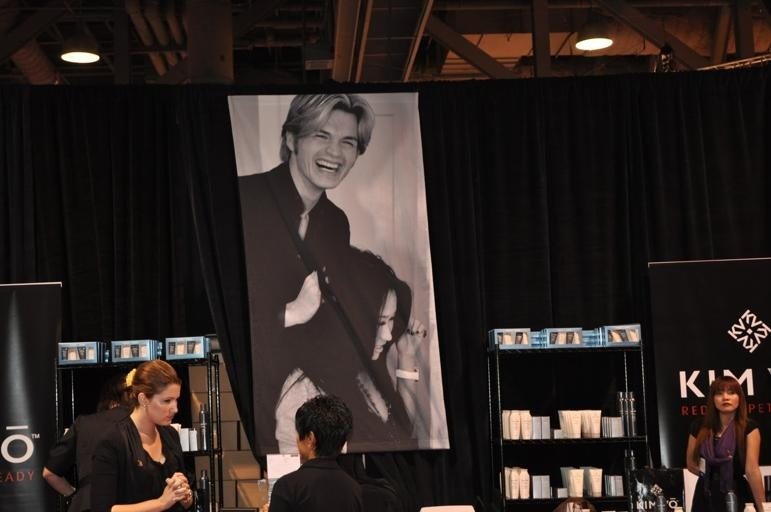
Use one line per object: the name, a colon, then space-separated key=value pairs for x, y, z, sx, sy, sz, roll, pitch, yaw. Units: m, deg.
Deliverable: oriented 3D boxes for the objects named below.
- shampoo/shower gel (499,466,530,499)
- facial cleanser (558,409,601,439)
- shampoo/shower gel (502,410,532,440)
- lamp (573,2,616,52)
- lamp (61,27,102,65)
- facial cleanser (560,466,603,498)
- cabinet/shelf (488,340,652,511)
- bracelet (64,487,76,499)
shampoo/shower gel: x=1.226 y=2.141 z=8.970 sx=0.252 sy=0.467 sz=0.254 roll=2 pitch=-14 yaw=-8
facial cleanser: x=1.859 y=1.618 z=9.064 sx=0.385 sy=0.281 sz=0.162 roll=-5 pitch=-7 yaw=10
shampoo/shower gel: x=1.252 y=1.621 z=9.054 sx=0.285 sy=0.283 sz=0.088 roll=-4 pitch=-7 yaw=4
lamp: x=2.360 y=-2.595 z=10.829 sx=0.396 sy=0.587 sz=0.693 roll=-5 pitch=-8 yaw=13
lamp: x=-3.448 y=-2.347 z=10.729 sx=0.372 sy=0.353 sz=0.244 roll=-1 pitch=-8 yaw=-21
facial cleanser: x=1.868 y=2.157 z=9.019 sx=0.381 sy=0.285 sz=0.221 roll=-5 pitch=-7 yaw=10
cabinet/shelf: x=1.748 y=1.694 z=9.146 sx=1.392 sy=1.851 sz=0.577 roll=0 pitch=-10 yaw=-2
bracelet: x=-2.814 y=2.118 z=8.493 sx=0.126 sy=0.048 sz=0.100 roll=-38 pitch=-4 yaw=39
